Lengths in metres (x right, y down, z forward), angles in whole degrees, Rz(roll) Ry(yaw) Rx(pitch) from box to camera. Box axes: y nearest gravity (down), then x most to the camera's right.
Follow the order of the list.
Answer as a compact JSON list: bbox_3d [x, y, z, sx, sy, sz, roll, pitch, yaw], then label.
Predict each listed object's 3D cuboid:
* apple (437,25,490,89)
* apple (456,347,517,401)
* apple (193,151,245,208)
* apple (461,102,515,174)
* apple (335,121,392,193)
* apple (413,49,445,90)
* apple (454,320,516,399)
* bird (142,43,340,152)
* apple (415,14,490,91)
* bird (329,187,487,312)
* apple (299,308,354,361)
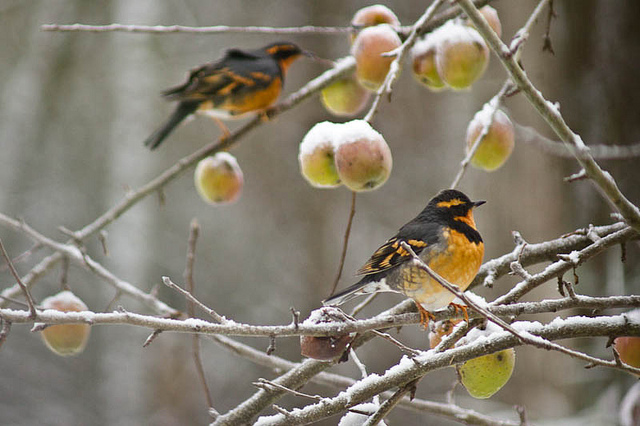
[{"bbox_3d":[0.720,-0.772,3.934,0.230,0.279,0.323,0,-92,8],"label":"apple"},{"bbox_3d":[0.882,0.820,4.012,0.264,0.261,0.272,-10,-97,31],"label":"apple"},{"bbox_3d":[-0.493,-0.155,3.771,0.224,0.151,0.274,-12,-75,-26],"label":"apple"},{"bbox_3d":[0.860,-0.367,3.970,0.230,0.264,0.354,14,-91,1],"label":"apple"},{"bbox_3d":[0.247,-0.273,3.820,0.282,0.322,0.414,4,-104,-5],"label":"apple"},{"bbox_3d":[0.540,-0.704,3.863,0.123,0.171,0.186,-4,-77,22],"label":"apple"},{"bbox_3d":[0.785,0.765,4.031,0.314,0.350,0.437,-1,-98,-12],"label":"apple"},{"bbox_3d":[-0.416,-0.589,3.766,0.869,0.293,0.446,-8,-94,-15],"label":"bird"},{"bbox_3d":[0.702,-0.780,3.901,0.305,0.181,0.383,10,-96,-2],"label":"apple"},{"bbox_3d":[0.528,0.163,4.038,0.867,0.522,0.702,-7,-101,3],"label":"bird"},{"bbox_3d":[0.035,0.628,3.930,0.269,0.220,0.252,-7,-110,1],"label":"apple"}]
